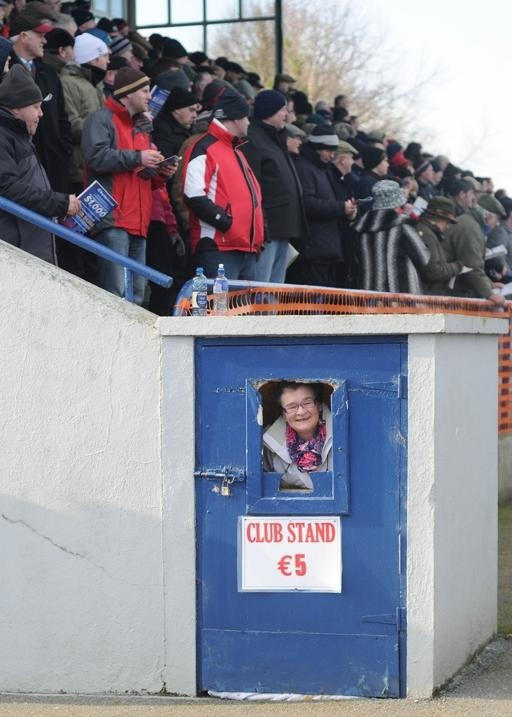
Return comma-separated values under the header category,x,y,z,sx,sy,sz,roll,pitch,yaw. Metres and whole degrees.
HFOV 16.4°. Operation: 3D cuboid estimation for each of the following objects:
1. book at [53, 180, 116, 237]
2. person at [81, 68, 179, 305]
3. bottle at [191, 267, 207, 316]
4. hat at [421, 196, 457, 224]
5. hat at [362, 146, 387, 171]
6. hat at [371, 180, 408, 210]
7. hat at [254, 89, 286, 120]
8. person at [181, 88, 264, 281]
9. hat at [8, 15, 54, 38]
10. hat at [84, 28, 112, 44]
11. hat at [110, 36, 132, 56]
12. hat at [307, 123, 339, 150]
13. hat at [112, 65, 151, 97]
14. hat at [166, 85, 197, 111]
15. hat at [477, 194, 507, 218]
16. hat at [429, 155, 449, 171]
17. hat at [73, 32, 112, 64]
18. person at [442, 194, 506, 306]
category,x,y,z,sx,sy,sz,roll,pitch,yaw
book,-0.934,-0.843,9.957,0.235,0.332,0.089,44,4,-11
person,-0.748,-1.167,10.530,0.606,1.147,0.405,7,-8,-38
bottle,-0.301,-0.343,9.374,0.090,0.296,0.341,2,-7,-2
hat,1.438,-1.156,13.798,0.191,0.128,0.200,4,-1,-3
hat,0.907,-1.563,13.826,0.180,0.247,0.200,-2,-8,33
hat,0.964,-1.195,12.918,0.226,0.160,0.265,-2,29,6
hat,0.093,-1.712,11.739,0.176,0.172,0.183,1,35,12
person,-0.179,-1.083,10.930,0.643,1.212,0.293,8,-9,-43
hat,-1.350,-2.003,10.611,0.181,0.104,0.140,-13,30,-11
hat,-1.042,-2.186,11.885,0.120,0.054,0.170,14,-18,49
hat,-0.946,-2.170,12.253,0.123,0.138,0.163,12,-16,-21
hat,0.472,-1.558,12.348,0.181,0.171,0.149,-5,17,-20
hat,-0.760,-1.653,10.509,0.166,0.178,0.169,1,21,2
hat,-0.494,-1.689,11.416,0.160,0.151,0.132,2,7,-2
hat,2.119,-1.371,15.812,0.262,0.109,0.189,38,-6,-22
hat,1.687,-1.808,16.319,0.116,0.174,0.165,-12,39,-21
hat,-1.073,-2.036,11.486,0.198,0.229,0.194,9,13,19
person,1.732,-0.847,14.183,0.518,1.106,0.493,-1,35,-3
